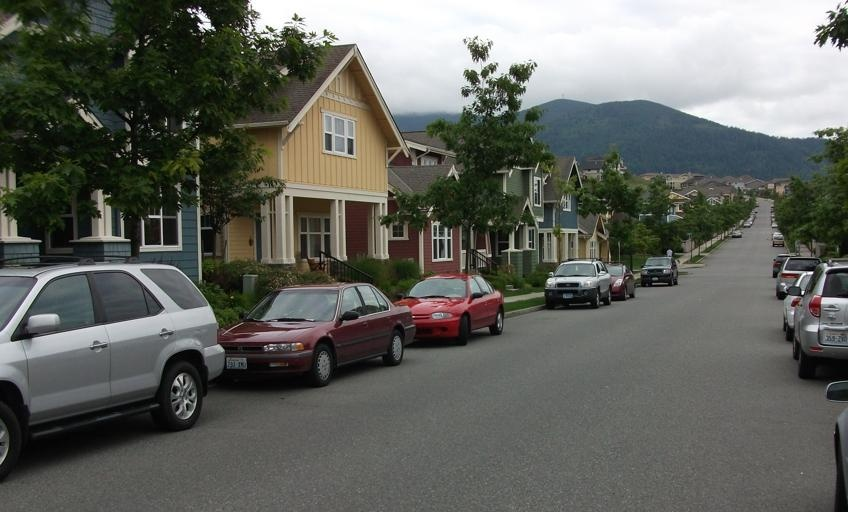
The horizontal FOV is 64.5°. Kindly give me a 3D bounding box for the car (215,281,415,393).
[{"bbox_3d":[-2.263,1.612,14.356,1.722,1.963,4.217,1,2,36],"label":"car"}]
